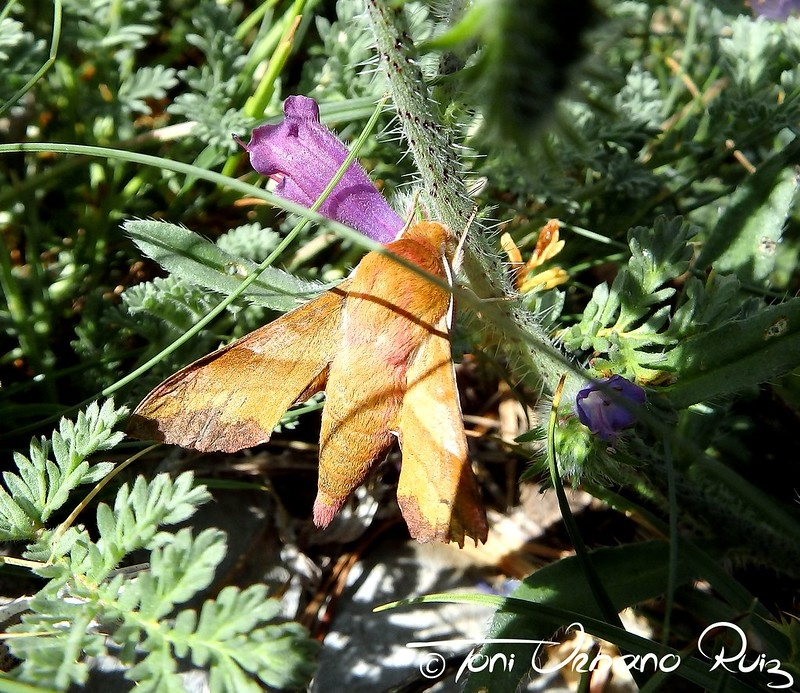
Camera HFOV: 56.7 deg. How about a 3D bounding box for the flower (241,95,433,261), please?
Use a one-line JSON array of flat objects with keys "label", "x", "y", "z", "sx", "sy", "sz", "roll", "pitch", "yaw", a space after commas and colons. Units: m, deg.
[{"label": "flower", "x": -0.109, "y": -0.302, "z": 1.491, "sx": 0.414, "sy": 0.109, "sz": 0.173, "roll": 42, "pitch": 88, "yaw": -5}]
